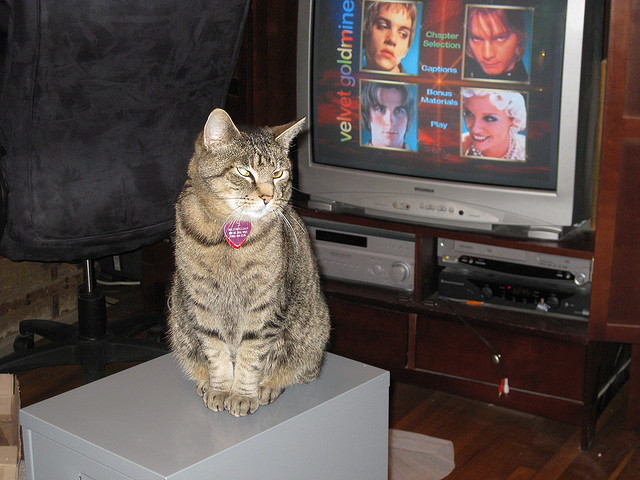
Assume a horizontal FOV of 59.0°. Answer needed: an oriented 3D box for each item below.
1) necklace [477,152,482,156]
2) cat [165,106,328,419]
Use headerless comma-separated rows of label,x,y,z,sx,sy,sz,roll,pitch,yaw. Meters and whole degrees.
necklace,0.564,-0.306,1.995,0.012,0.011,0.003,3,7,20
cat,-0.143,0.022,1.177,0.365,0.582,0.321,-8,20,-16
